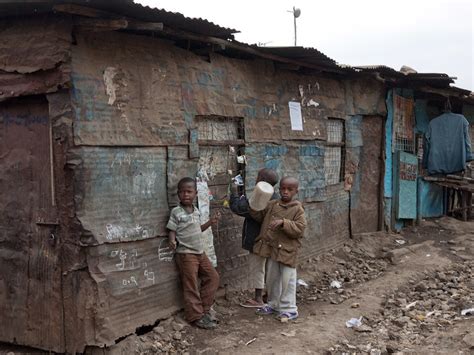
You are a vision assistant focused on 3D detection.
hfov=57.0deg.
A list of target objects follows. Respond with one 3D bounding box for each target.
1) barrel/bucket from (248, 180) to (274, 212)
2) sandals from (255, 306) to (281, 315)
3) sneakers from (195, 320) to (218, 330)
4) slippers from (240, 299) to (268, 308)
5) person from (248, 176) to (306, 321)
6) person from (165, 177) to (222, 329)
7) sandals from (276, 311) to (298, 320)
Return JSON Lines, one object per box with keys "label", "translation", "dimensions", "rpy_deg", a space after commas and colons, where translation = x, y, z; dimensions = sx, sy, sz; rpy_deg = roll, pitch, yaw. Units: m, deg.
{"label": "barrel/bucket", "translation": [0.339, 0.274, 6.049], "dimensions": [0.303, 0.446, 0.280], "rpy_deg": [0, 9, 0]}
{"label": "sandals", "translation": [0.439, 1.886, 6.275], "dimensions": [0.317, 0.153, 0.127], "rpy_deg": [6, -5, 10]}
{"label": "sneakers", "translation": [-0.423, 1.981, 5.896], "dimensions": [0.201, 0.085, 0.139], "rpy_deg": [0, 2, 20]}
{"label": "slippers", "translation": [0.228, 1.917, 6.634], "dimensions": [0.263, 0.104, 0.157], "rpy_deg": [3, -3, 4]}
{"label": "person", "translation": [0.590, 0.970, 6.167], "dimensions": [0.533, 1.993, 0.670], "rpy_deg": [-6, 12, -34]}
{"label": "person", "translation": [-0.605, 1.005, 5.919], "dimensions": [0.705, 2.003, 0.512], "rpy_deg": [-1, 10, -5]}
{"label": "sandals", "translation": [0.696, 1.920, 6.051], "dimensions": [0.289, 0.139, 0.113], "rpy_deg": [2, -3, -15]}
